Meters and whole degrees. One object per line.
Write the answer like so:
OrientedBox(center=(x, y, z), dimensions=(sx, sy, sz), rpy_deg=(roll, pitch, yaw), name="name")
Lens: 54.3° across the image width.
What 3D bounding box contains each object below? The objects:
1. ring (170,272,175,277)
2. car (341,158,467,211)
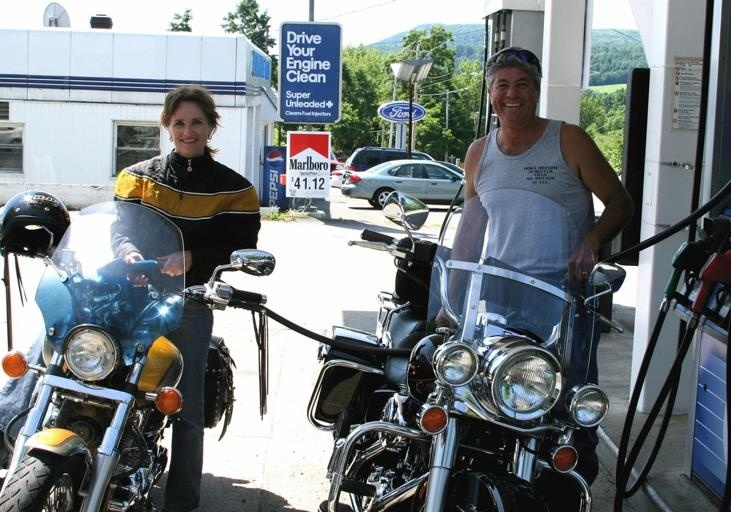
OrientedBox(center=(-1.001, 0.099, 3.724), dimensions=(0.020, 0.021, 0.007), rpy_deg=(7, -8, -33), name="ring")
OrientedBox(center=(1.329, -2.157, 20.485), dimensions=(4.099, 1.543, 1.856), rpy_deg=(-5, 8, -16), name="car")
